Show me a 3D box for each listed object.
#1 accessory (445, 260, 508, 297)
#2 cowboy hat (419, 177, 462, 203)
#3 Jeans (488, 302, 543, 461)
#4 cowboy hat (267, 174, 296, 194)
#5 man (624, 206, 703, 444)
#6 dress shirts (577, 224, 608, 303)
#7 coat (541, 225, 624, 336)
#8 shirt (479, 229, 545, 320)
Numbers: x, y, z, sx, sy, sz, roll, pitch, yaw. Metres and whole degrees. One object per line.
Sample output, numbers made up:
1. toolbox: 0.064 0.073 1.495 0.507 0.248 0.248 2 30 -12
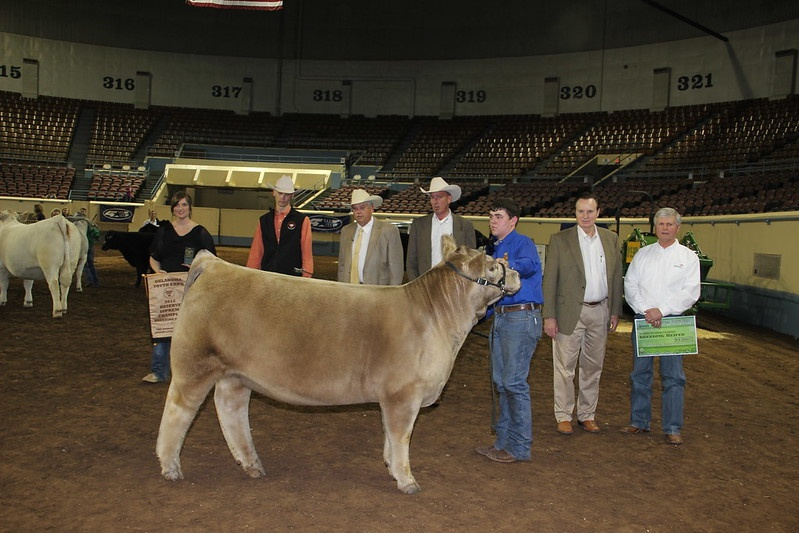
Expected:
1. accessory: 0.884 0.138 7.633 0.446 0.117 0.347 28 -2 -11
2. cowboy hat: 0.619 -0.995 9.194 0.355 0.176 0.422 1 -16 23
3. Jeans: 1.418 1.381 8.559 0.569 1.818 0.749 4 -1 -11
4. cowboy hat: -1.491 -1.138 9.246 0.383 0.186 0.427 6 -6 0
5. man: 3.321 0.720 8.946 0.897 2.900 0.567 4 7 24
6. dress shirts: 2.483 -0.027 8.970 0.437 0.888 0.336 1 -5 -15
7. coat: 2.403 0.166 9.042 0.973 1.493 0.484 0 19 4
8. shirt: 1.399 0.053 8.491 0.770 0.715 0.772 -13 12 -37
